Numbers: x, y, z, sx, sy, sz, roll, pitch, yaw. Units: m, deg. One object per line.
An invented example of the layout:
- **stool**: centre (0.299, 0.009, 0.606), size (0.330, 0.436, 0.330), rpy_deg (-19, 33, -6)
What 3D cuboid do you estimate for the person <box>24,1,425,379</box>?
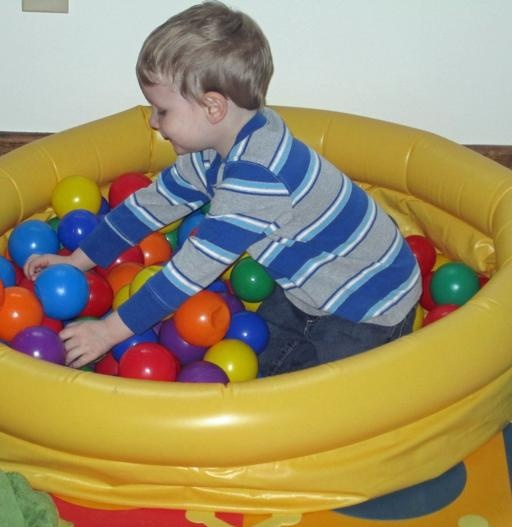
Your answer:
- **person**: centre (-0.029, -0.140, 1.443), size (0.898, 0.939, 0.446), rpy_deg (-3, 20, -7)
